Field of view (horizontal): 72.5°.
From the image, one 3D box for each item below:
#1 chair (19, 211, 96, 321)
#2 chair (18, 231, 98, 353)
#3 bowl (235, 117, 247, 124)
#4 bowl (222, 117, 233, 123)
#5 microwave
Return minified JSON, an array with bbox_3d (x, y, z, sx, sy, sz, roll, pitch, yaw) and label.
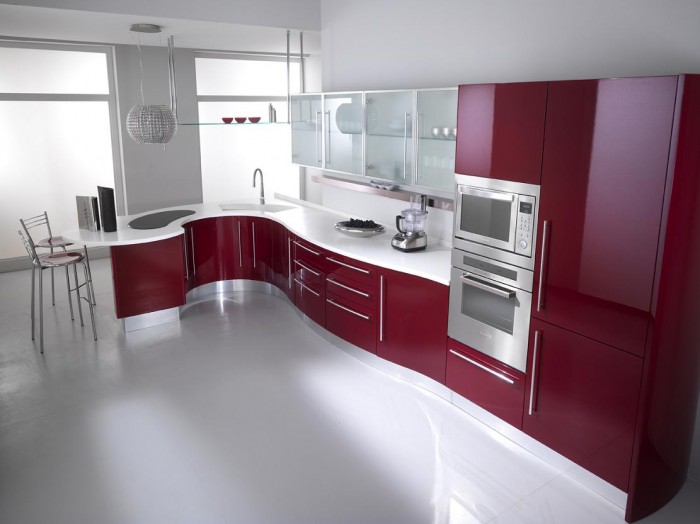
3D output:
[{"bbox_3d":[-3.469,0.070,5.610,0.447,0.834,1.090,-6,19,-29],"label":"chair"},{"bbox_3d":[-2.998,0.292,4.901,0.587,1.184,0.542,-6,13,-41],"label":"chair"},{"bbox_3d":[-1.228,-1.600,5.354,0.122,0.054,0.121,0,12,0],"label":"bowl"},{"bbox_3d":[-1.359,-1.581,5.298,0.117,0.060,0.121,-1,12,0],"label":"bowl"},{"bbox_3d":[0.961,-0.275,3.164,0.410,0.437,0.643,-8,18,-33],"label":"microwave"}]
